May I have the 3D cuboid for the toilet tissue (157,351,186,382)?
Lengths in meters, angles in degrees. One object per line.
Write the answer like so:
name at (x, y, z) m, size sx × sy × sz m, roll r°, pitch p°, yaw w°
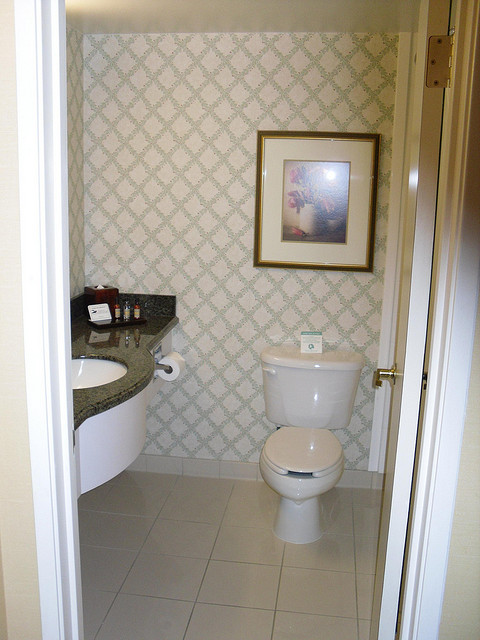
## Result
toilet tissue at (-0.321, 0.216, 2.580) m, size 0.125 × 0.123 × 0.149 m, roll 10°, pitch 12°, yaw 1°

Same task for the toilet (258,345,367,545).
toilet at (0.327, 0.612, 2.613) m, size 0.522 × 0.844 × 0.674 m, roll 4°, pitch 10°, yaw 14°

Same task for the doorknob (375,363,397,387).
doorknob at (0.389, 0.146, 1.396) m, size 0.053 × 0.085 × 0.058 m, roll 1°, pitch 6°, yaw 13°

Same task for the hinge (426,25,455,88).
hinge at (0.371, -0.485, 0.962) m, size 0.055 × 0.102 × 0.036 m, roll 9°, pitch 12°, yaw 39°

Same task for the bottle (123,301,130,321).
bottle at (-0.599, -0.043, 2.763) m, size 0.027 × 0.077 × 0.152 m, roll -1°, pitch 10°, yaw -13°

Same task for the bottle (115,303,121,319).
bottle at (-0.652, -0.046, 2.769) m, size 0.023 × 0.074 × 0.114 m, roll -1°, pitch 10°, yaw -15°

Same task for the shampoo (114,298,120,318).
shampoo at (-0.658, -0.063, 2.788) m, size 0.027 × 0.100 × 0.160 m, roll -1°, pitch 10°, yaw -13°
